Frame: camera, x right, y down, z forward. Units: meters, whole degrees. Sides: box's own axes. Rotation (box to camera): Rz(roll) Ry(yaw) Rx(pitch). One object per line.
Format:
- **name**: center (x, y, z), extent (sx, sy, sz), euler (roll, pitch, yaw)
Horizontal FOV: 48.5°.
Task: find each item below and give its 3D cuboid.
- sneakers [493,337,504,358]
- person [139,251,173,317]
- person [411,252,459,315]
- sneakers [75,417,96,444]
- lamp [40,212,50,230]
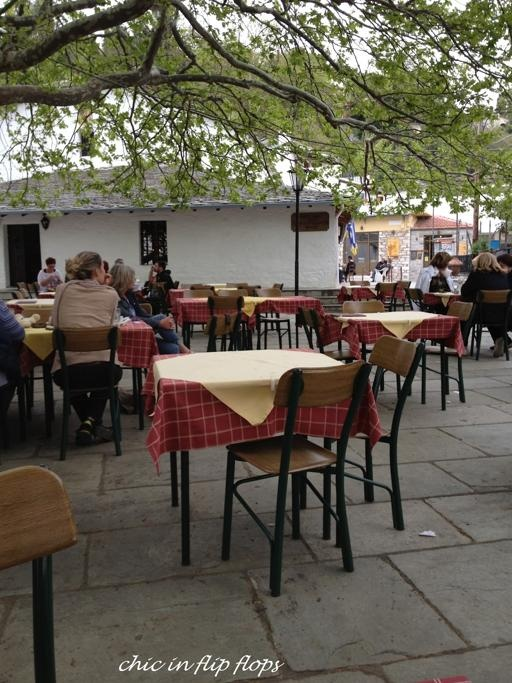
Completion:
- **sneakers**: center (3.535, 0.087, 8.340), extent (0.125, 0.317, 0.141), euler (5, 20, 28)
- **person**: center (-2.389, -1.267, 13.715), extent (0.770, 1.238, 0.467), euler (5, 2, -12)
- **person**: center (3.003, -0.967, 9.484), extent (0.661, 1.071, 0.585), euler (5, 25, 30)
- **sneakers**: center (-1.313, 0.709, 4.411), extent (0.101, 0.106, 0.261), euler (2, 8, -4)
- **lamp**: center (-7.259, -4.131, 19.569), extent (0.312, 0.475, 0.618), euler (-3, 6, -20)
